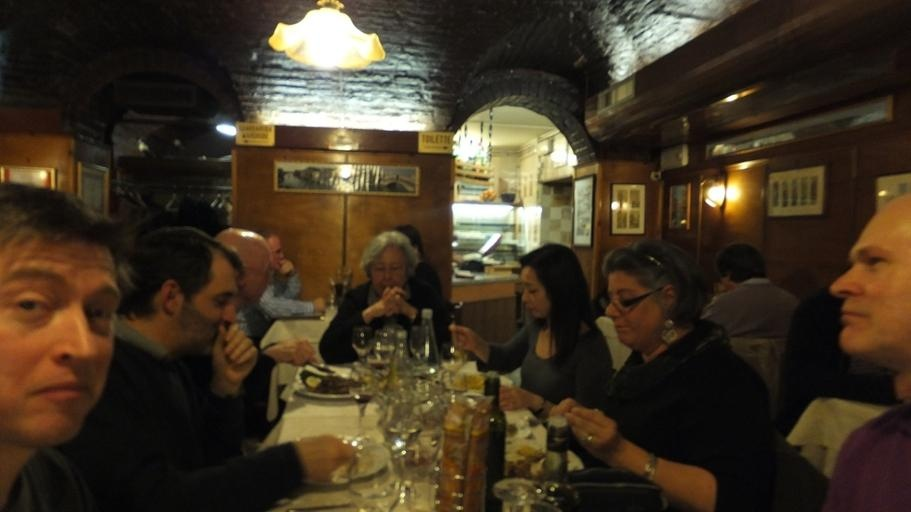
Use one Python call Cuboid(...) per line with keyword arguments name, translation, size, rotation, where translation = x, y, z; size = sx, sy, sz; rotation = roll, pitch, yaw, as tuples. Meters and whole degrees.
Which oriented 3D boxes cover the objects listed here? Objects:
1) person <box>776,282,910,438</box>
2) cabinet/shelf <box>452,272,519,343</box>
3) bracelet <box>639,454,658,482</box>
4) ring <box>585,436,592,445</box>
Cuboid(name="person", translation=(3.117, 0.764, 5.760), size=(1.188, 1.313, 1.036), rotation=(8, 0, 22))
Cuboid(name="cabinet/shelf", translation=(0.344, 0.612, 8.506), size=(0.992, 0.869, 0.538), rotation=(-2, 5, -39))
Cuboid(name="bracelet", translation=(1.120, 1.229, 4.143), size=(0.048, 0.131, 0.120), rotation=(14, 36, 3))
Cuboid(name="ring", translation=(0.773, 1.064, 4.097), size=(0.041, 0.027, 0.039), rotation=(1, -6, 0))
